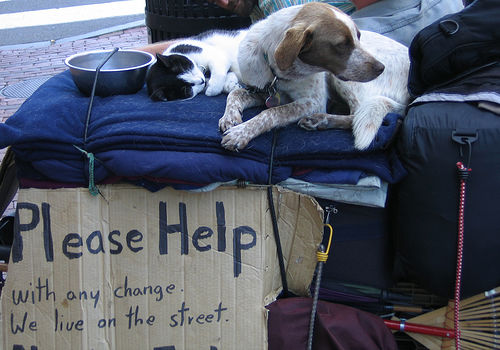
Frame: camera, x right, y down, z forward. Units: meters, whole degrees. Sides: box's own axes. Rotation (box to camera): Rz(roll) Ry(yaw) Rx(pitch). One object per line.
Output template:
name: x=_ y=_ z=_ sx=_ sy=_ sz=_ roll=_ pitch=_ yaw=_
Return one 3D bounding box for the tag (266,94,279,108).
tag: x=0.126 y=-0.405 z=4.246 sx=0.052 sy=0.058 sz=0.053 roll=-21 pitch=15 yaw=-24

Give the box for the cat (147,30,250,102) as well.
cat: x=-0.313 y=-0.623 z=4.442 sx=0.733 sy=0.492 sz=0.535 roll=-5 pitch=22 yaw=-11
